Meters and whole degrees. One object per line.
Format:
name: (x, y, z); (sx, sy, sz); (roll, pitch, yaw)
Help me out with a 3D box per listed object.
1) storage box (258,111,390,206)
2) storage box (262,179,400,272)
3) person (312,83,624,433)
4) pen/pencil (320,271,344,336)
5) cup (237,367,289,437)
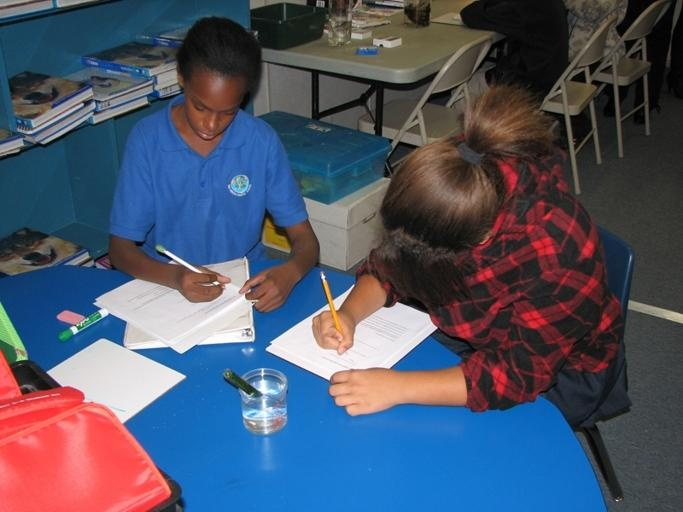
storage box: (-0.099, -0.585, 2.961); (0.764, 0.442, 0.857); (-4, 27, -11)
storage box: (-0.049, -0.184, 2.850); (0.460, 0.270, 0.461); (20, 40, 33)
person: (0.365, 0.062, 1.422); (0.738, 0.881, 0.705); (12, 33, 4)
pen/pencil: (-0.026, 0.127, 1.396); (0.017, 0.014, 0.152); (-19, 83, -10)
cup: (-0.162, 0.310, 1.184); (0.120, 0.112, 0.120); (-2, 30, 1)
